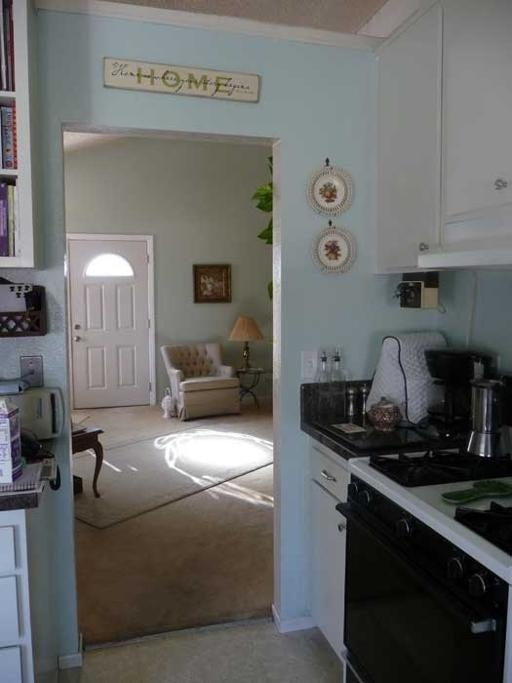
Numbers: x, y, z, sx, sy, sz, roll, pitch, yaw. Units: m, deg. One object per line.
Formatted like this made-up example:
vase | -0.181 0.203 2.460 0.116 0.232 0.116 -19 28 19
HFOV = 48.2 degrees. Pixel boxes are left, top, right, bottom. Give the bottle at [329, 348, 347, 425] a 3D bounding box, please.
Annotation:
bottle | 0.331 0.162 2.311 0.065 0.276 0.043 -1 5 -3

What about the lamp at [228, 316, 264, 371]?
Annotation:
lamp | -0.111 0.010 6.505 0.370 0.588 0.369 1 3 13

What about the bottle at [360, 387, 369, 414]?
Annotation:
bottle | 0.438 0.235 2.313 0.032 0.112 0.099 0 5 11

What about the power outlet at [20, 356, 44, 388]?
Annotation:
power outlet | -0.777 0.101 1.972 0.104 0.150 0.019 -1 6 -20

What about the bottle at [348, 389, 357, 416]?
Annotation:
bottle | 0.392 0.240 2.314 0.024 0.114 0.061 4 7 40

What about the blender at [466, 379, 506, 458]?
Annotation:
blender | 0.666 0.233 1.667 0.101 0.244 0.114 2 6 23

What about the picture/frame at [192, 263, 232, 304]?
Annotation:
picture/frame | -0.543 -0.710 6.761 0.479 0.474 0.048 -1 4 -18

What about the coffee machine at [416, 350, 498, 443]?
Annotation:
coffee machine | 0.718 0.180 2.049 0.301 0.398 0.237 1 3 0

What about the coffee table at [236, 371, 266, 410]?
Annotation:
coffee table | -0.054 0.550 6.812 0.393 0.467 0.398 0 5 -16

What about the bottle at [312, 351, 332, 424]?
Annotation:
bottle | 0.268 0.170 2.293 0.065 0.276 0.022 -2 5 -16

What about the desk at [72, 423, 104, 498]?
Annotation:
desk | -1.091 0.782 3.726 0.181 0.482 0.626 -2 5 -17

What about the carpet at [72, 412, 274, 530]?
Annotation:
carpet | -0.802 0.928 4.750 1.923 0.037 3.013 0 5 7

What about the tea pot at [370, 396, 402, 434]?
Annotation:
tea pot | 0.466 0.264 2.053 0.109 0.108 0.111 0 -3 0

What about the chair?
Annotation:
chair | -0.629 0.411 6.381 0.717 0.813 0.877 -4 -1 -16
